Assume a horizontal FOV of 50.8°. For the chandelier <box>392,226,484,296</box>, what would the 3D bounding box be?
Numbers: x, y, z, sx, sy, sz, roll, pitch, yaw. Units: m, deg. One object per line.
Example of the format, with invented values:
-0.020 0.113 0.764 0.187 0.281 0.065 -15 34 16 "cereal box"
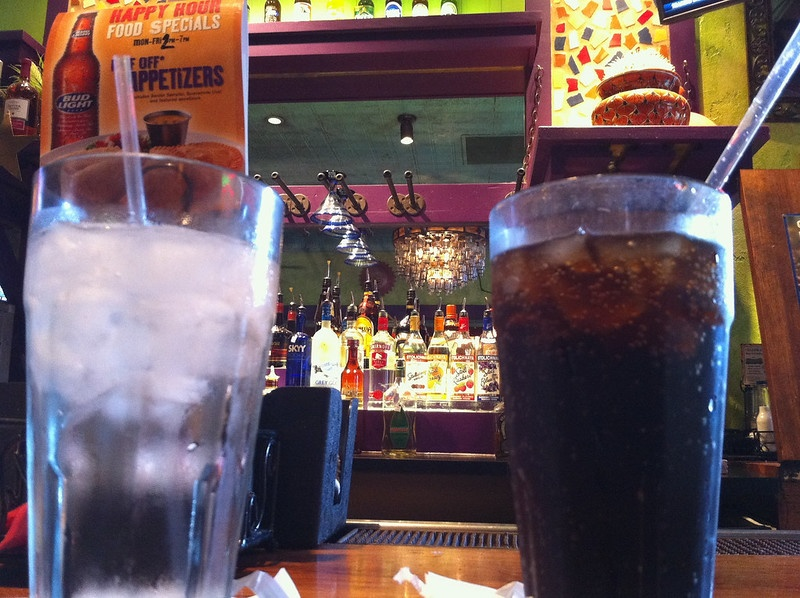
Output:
0.200 -0.201 4.438 0.519 0.269 0.484 -1 -11 -18 "chandelier"
